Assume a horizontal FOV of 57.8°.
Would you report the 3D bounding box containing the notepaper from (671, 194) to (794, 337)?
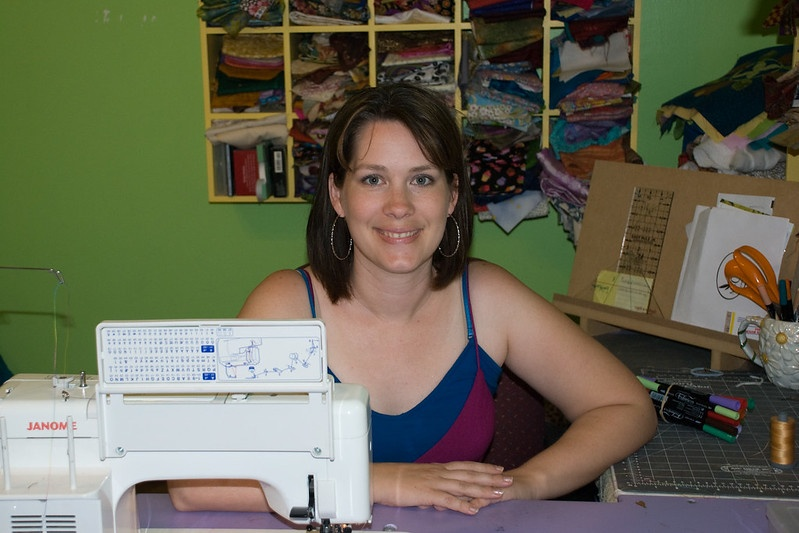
[{"bbox_3d":[1.258,-0.046,3.009,0.451,0.505,0.476,12,17,11],"label":"notepaper"}]
